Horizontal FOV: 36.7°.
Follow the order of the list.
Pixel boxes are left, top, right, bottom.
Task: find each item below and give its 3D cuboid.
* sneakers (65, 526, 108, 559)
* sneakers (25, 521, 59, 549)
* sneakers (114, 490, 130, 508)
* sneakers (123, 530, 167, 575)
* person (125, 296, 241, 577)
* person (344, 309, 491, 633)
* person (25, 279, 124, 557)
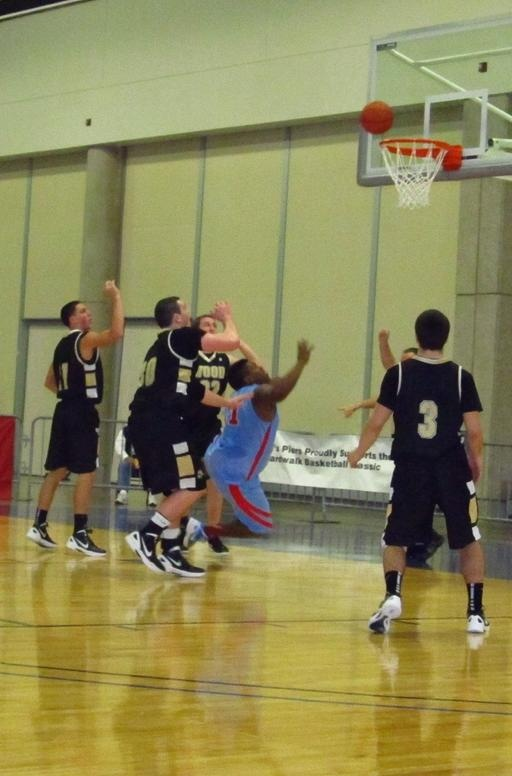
[{"bbox_3d":[-1.128,1.047,5.183,0.350,0.177,0.190,1,-3,26],"label":"sneakers"},{"bbox_3d":[-1.521,1.032,5.383,0.106,0.149,0.303,5,-12,32],"label":"sneakers"},{"bbox_3d":[-1.574,1.289,8.958,0.087,0.162,0.249,-2,-17,10],"label":"sneakers"},{"bbox_3d":[-0.612,0.940,4.380,0.213,0.274,0.332,3,-3,-6],"label":"sneakers"},{"bbox_3d":[-0.439,0.261,4.503,0.592,1.685,0.739,3,-3,-4],"label":"person"},{"bbox_3d":[1.158,0.427,5.756,1.507,2.012,0.662,-3,11,-24],"label":"person"},{"bbox_3d":[-1.173,0.235,5.196,0.379,1.798,0.813,5,-4,-37],"label":"person"}]
